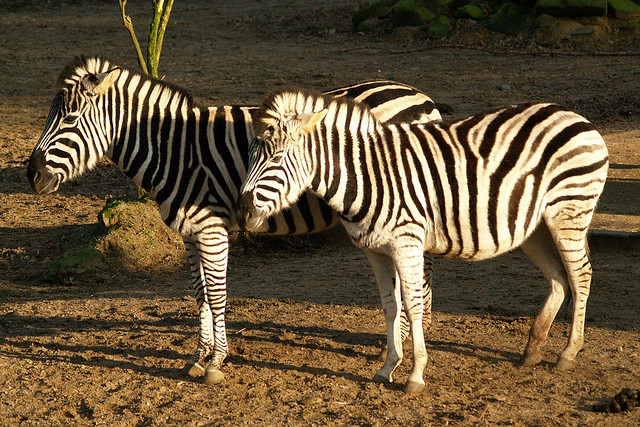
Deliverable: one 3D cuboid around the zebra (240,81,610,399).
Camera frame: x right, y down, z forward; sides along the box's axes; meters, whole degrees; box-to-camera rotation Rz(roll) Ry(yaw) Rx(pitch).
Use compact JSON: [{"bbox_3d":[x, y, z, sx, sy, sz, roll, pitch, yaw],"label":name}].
[{"bbox_3d":[1.286,0.167,11.668,3.935,3.156,1.407,4,24,7],"label":"zebra"}]
